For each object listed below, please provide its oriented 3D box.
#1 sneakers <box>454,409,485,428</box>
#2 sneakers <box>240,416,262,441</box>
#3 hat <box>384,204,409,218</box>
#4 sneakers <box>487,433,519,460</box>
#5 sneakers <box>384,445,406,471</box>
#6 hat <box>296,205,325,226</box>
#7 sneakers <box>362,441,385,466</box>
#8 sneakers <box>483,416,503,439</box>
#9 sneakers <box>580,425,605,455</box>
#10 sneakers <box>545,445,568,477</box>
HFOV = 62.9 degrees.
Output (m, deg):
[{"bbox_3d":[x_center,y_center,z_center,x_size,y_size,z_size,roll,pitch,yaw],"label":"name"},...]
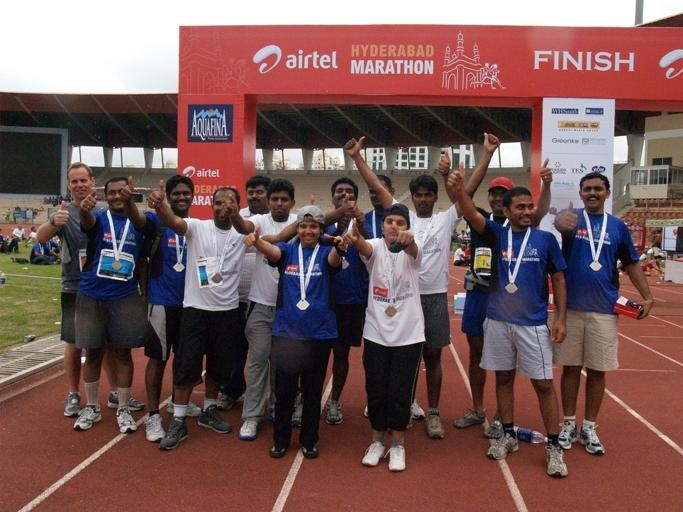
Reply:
[{"bbox_3d":[1.431,1.782,6.233,0.398,0.189,0.151,-5,19,-16],"label":"sneakers"},{"bbox_3d":[-0.933,1.782,5.783,0.127,0.151,0.359,-1,-17,1],"label":"sneakers"},{"bbox_3d":[0.554,-0.435,5.335,0.289,0.149,0.217,-2,11,-16],"label":"hat"},{"bbox_3d":[1.605,1.878,5.534,0.382,0.191,0.160,-3,2,-45],"label":"sneakers"},{"bbox_3d":[0.513,1.921,5.328,0.148,0.179,0.416,-1,-6,4],"label":"sneakers"},{"bbox_3d":[-0.298,-0.415,5.496,0.260,0.185,0.213,0,10,-6],"label":"hat"},{"bbox_3d":[0.306,1.896,5.362,0.113,0.134,0.295,0,-6,15],"label":"sneakers"},{"bbox_3d":[1.641,1.831,5.966,0.107,0.151,0.295,-5,-6,39],"label":"sneakers"},{"bbox_3d":[2.547,1.855,5.631,0.131,0.178,0.369,0,-3,5],"label":"sneakers"},{"bbox_3d":[2.055,1.904,5.309,0.199,0.250,0.312,5,11,22],"label":"sneakers"}]
